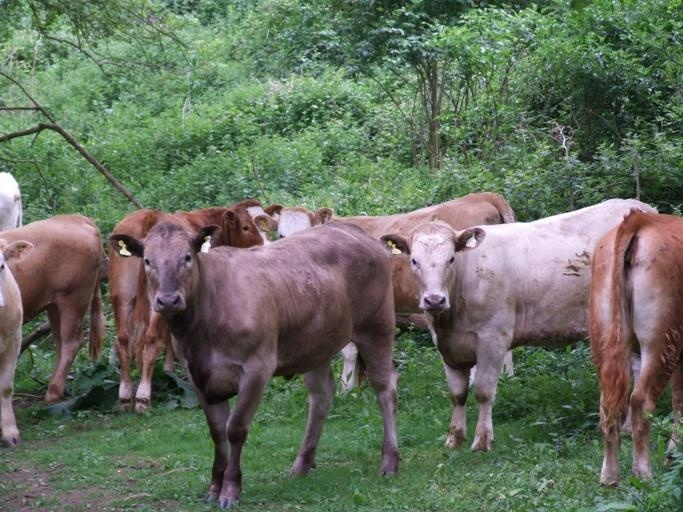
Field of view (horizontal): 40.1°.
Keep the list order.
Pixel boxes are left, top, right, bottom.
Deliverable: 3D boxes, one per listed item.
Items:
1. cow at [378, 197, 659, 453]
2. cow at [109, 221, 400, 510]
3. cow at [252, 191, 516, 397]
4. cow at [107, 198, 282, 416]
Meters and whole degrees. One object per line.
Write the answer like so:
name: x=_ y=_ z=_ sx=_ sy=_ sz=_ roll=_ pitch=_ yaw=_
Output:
cow: x=2.167 y=0.923 z=12.853 sx=1.598 sy=2.833 sz=4.883 roll=1 pitch=4 yaw=38
cow: x=-0.760 y=1.175 z=10.943 sx=2.927 sy=3.227 sz=0.737 roll=-3 pitch=3 yaw=-23
cow: x=1.526 y=0.262 z=15.045 sx=5.590 sy=3.374 sz=1.950 roll=-1 pitch=-2 yaw=35
cow: x=-2.709 y=0.983 z=14.338 sx=1.262 sy=3.036 sz=3.653 roll=-4 pitch=0 yaw=-16
